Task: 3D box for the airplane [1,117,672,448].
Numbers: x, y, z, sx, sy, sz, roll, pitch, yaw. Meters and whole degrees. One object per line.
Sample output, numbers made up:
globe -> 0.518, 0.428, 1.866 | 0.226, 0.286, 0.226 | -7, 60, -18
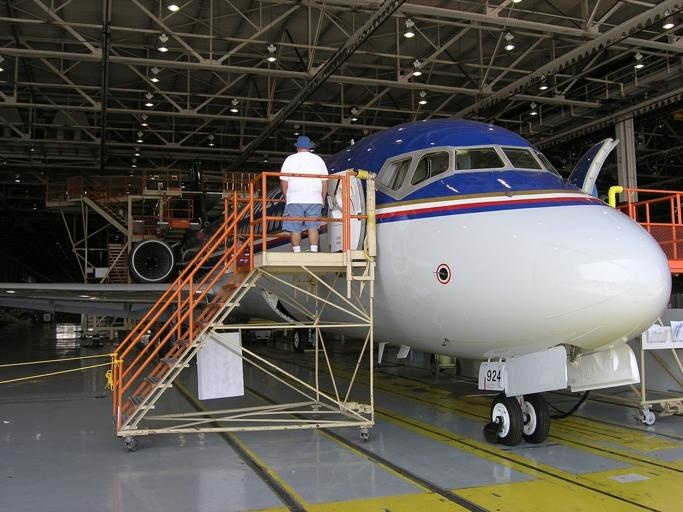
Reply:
airplane -> 0.155, 0.441, 15.656 | 9.962, 4.029, 9.966 | 2, -4, -29
